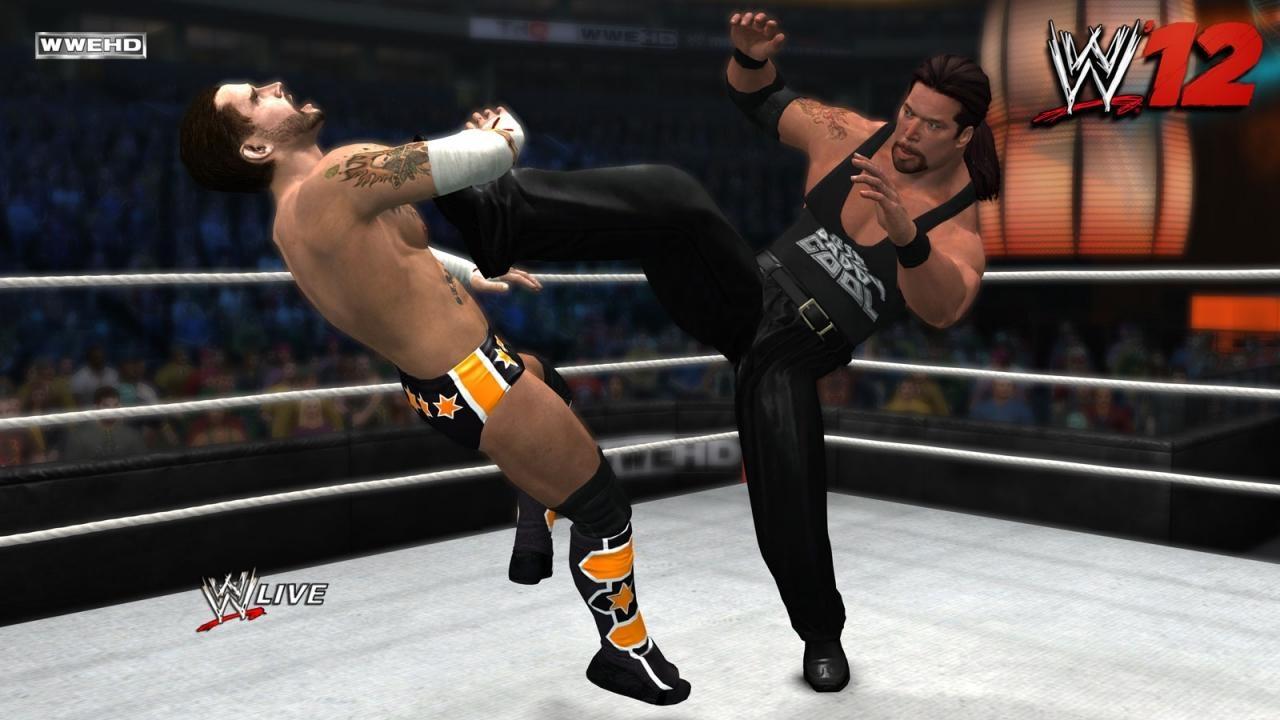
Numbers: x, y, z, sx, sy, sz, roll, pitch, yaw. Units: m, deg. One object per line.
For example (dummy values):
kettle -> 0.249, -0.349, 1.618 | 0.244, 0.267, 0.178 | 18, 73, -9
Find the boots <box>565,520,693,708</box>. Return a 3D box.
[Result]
boots -> -0.042, 1.066, 3.833 | 0.433, 0.795, 0.241 | -3, 20, 11

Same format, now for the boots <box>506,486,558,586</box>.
boots -> -0.482, 0.825, 4.229 | 0.202, 0.424, 0.208 | 0, 20, 20

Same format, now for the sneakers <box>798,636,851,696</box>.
sneakers -> 0.804, 1.275, 4.037 | 0.199, 0.185, 0.327 | -2, 25, 10
